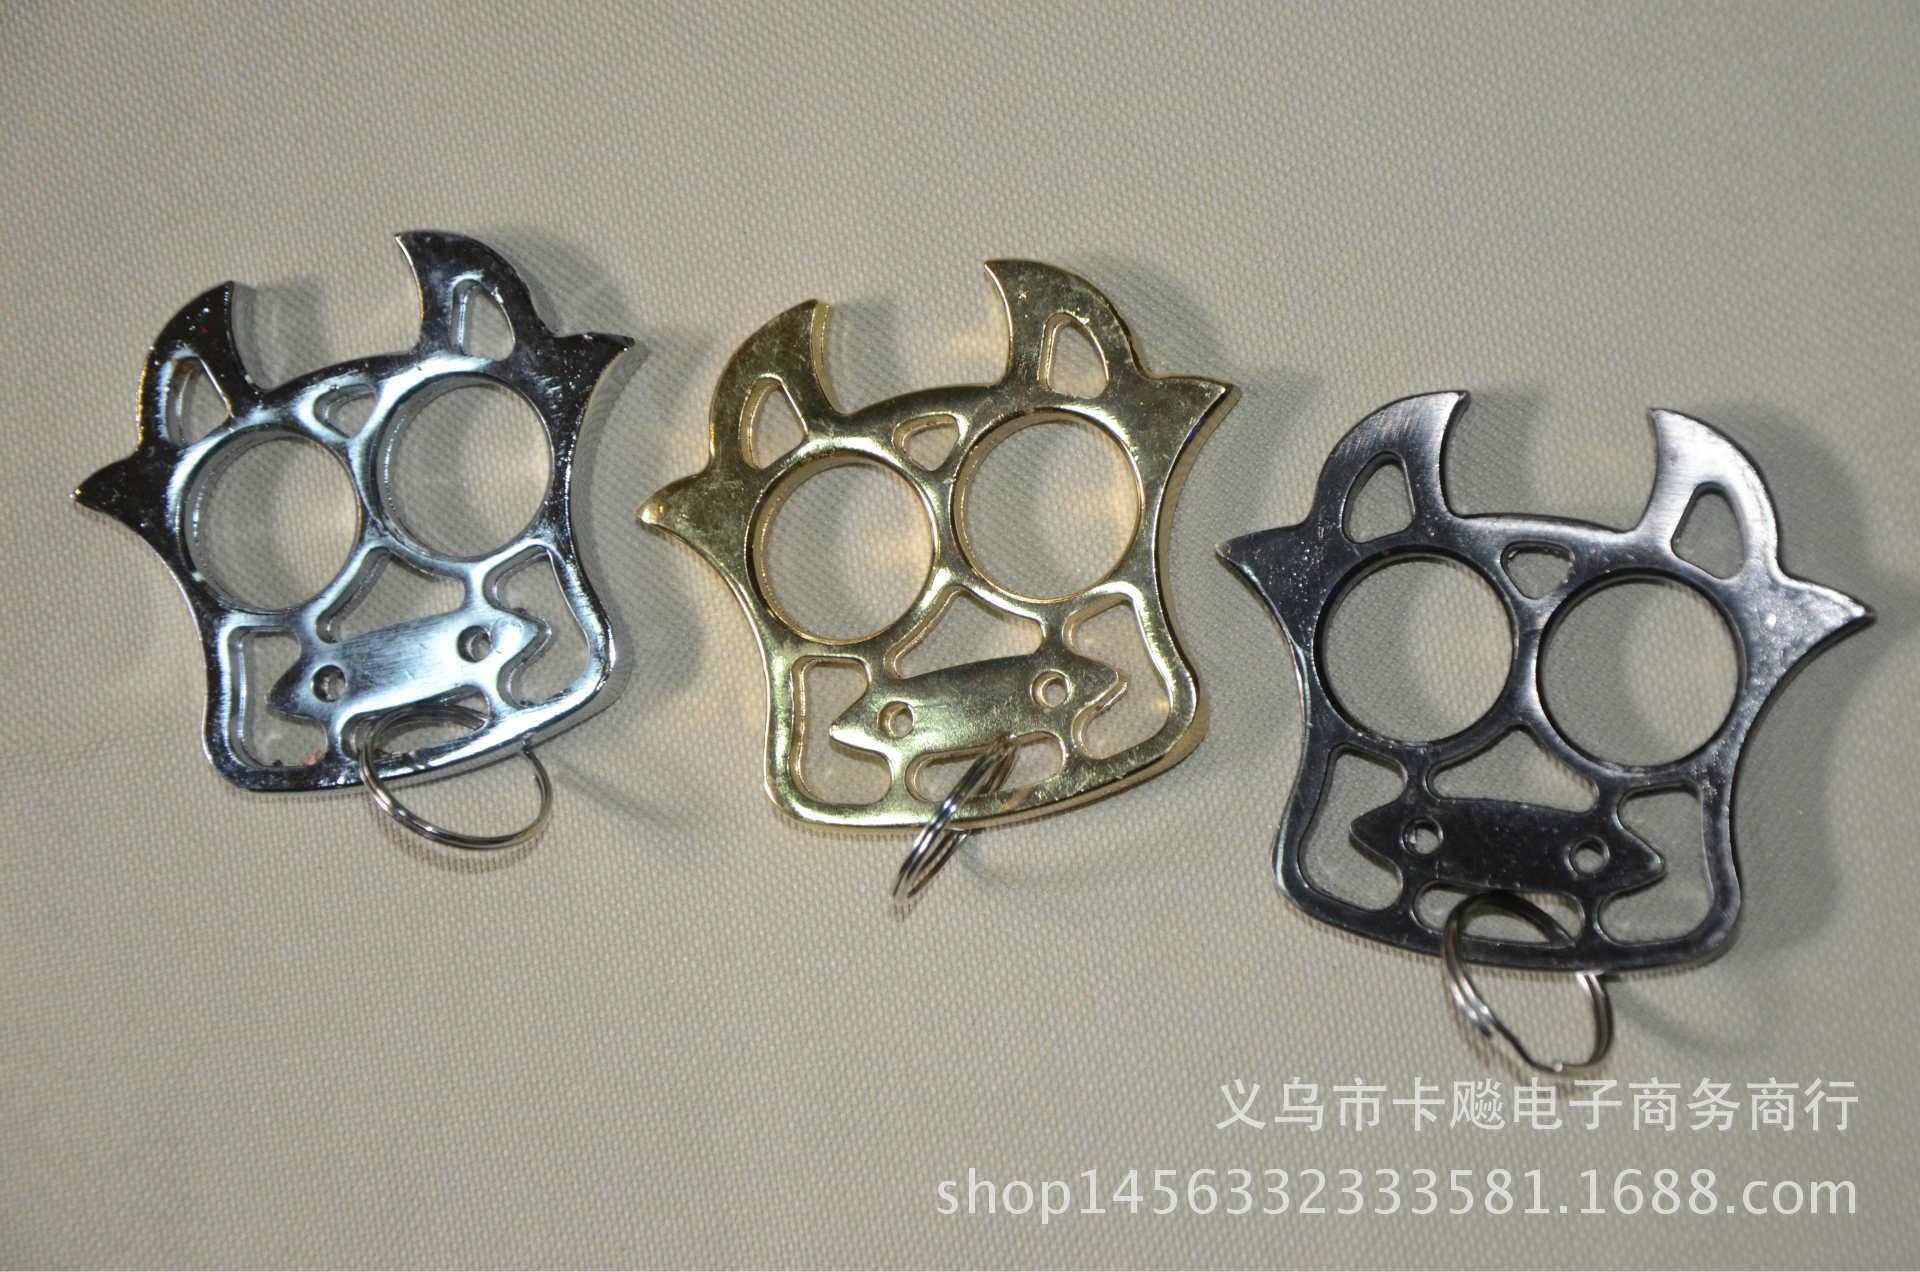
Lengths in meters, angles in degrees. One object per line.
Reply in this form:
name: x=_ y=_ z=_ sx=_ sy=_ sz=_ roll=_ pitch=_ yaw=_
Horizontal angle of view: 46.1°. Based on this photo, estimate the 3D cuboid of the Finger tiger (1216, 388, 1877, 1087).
Finger tiger: x=0.413 y=0.085 z=1.536 sx=0.413 sy=0.442 sz=0.065 roll=7 pitch=-5 yaw=12

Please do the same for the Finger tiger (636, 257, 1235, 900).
Finger tiger: x=-0.005 y=-0.023 z=1.593 sx=0.349 sy=0.355 sz=0.099 roll=-17 pitch=-11 yaw=5
